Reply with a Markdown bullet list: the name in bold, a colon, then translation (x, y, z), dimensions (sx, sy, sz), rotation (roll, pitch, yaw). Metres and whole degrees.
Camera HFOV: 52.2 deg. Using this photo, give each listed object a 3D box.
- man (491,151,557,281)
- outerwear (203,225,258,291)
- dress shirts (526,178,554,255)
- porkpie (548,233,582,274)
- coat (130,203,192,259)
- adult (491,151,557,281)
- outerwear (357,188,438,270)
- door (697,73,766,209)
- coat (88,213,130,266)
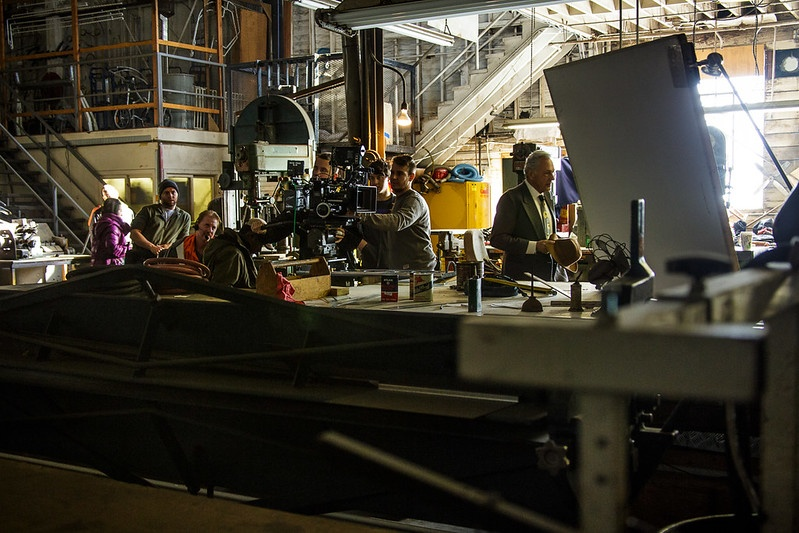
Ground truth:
- **man**: translation (0.846, -0.338, 5.554), dimensions (0.446, 0.895, 1.245), rotation (0, 6, 11)
- **outerwear**: translation (-1.022, -0.075, 4.768), dimensions (0.238, 0.357, 0.433), rotation (-4, 36, -16)
- **dress shirts**: translation (0.958, -0.329, 5.616), dimensions (0.147, 0.464, 0.326), rotation (1, 3, -26)
- **porkpie**: translation (0.855, -0.060, 4.249), dimensions (0.160, 0.198, 0.073), rotation (-10, -2, -25)
- **coat**: translation (-2.335, -0.375, 7.947), dimensions (0.570, 0.632, 0.315), rotation (5, 43, -24)
- **adult**: translation (0.845, -0.337, 5.543), dimensions (0.447, 0.895, 1.264), rotation (0, 6, 11)
- **outerwear**: translation (-0.009, -0.248, 6.090), dimensions (0.590, 0.629, 0.539), rotation (1, 2, -2)
- **door**: translation (4.423, -1.682, 10.702), dimensions (0.823, 2.043, 4.427), rotation (1, 6, 24)
- **coat**: translation (-2.812, -0.266, 7.920), dimensions (0.374, 0.555, 0.504), rotation (-3, 21, -32)
